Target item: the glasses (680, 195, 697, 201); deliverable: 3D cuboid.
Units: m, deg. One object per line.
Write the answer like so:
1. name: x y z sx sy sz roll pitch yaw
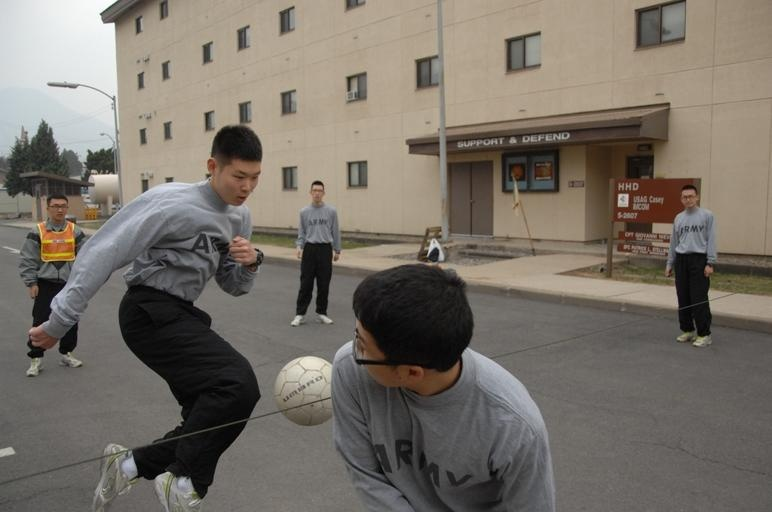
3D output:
1. glasses: 5.019 -0.944 8.599 0.139 0.064 0.160 -1 -6 36

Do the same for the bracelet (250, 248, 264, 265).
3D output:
1. bracelet: -1.080 0.032 4.419 0.102 0.157 0.079 9 5 37

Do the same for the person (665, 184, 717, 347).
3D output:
1. person: 5.035 0.149 8.574 0.710 2.583 0.994 3 6 28

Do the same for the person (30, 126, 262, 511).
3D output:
1. person: -1.624 0.529 3.953 1.364 3.086 0.935 -1 6 -15
